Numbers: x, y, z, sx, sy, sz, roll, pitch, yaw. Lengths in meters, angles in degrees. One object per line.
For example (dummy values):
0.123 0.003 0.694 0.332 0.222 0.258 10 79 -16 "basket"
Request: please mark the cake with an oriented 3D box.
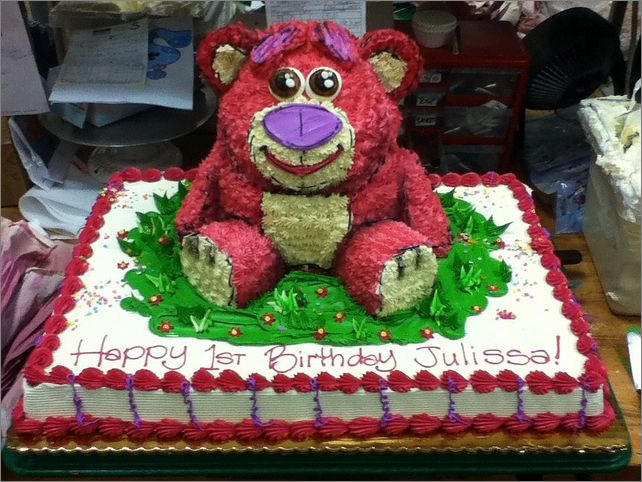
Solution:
-0.019 -0.046 1.935 1.900 0.874 1.099 1 49 0 "cake"
